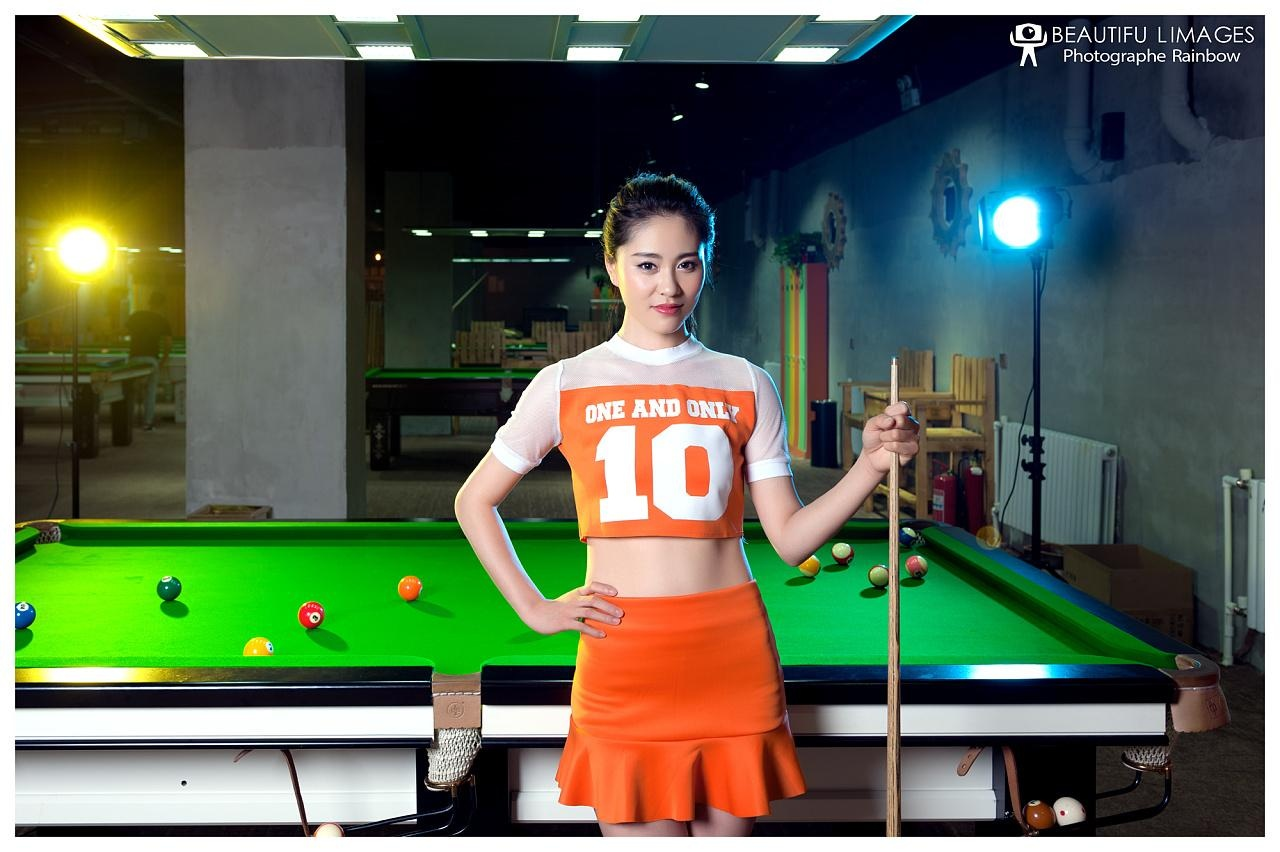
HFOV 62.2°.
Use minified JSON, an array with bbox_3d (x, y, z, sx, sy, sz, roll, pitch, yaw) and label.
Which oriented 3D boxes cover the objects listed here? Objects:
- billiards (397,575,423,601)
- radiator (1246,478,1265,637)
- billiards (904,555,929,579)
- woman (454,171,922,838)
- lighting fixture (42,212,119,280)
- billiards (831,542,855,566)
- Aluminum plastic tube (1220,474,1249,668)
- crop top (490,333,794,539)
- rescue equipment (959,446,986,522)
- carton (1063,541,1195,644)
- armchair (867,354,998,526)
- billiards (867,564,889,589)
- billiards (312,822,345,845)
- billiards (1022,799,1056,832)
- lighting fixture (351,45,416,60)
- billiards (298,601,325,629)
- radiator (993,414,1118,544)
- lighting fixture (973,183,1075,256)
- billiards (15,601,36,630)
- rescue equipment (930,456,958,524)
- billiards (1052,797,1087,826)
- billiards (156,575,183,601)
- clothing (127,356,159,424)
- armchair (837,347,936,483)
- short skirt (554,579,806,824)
[{"bbox_3d":[-0.762,0.540,3.539,0.075,0.075,0.076,2,-1,-7],"label":"billiards"},{"bbox_3d":[3.103,0.633,5.339,0.079,0.778,0.437,1,-12,24],"label":"radiator"},{"bbox_3d":[0.997,0.510,3.814,0.072,0.084,0.074,-3,-4,30],"label":"billiards"},{"bbox_3d":[0.161,0.489,2.799,1.282,2.146,0.517,-1,11,7],"label":"woman"},{"bbox_3d":[-3.639,-1.146,6.959,0.327,0.451,0.520,1,0,-32],"label":"lighting fixture"},{"bbox_3d":[0.749,0.474,3.924,0.077,0.077,0.042,1,-4,-12],"label":"billiards"},{"bbox_3d":[2.985,0.724,5.329,0.152,0.959,0.196,3,-5,6],"label":"Aluminum plastic tube"},{"bbox_3d":[0.015,0.030,2.744,0.783,0.529,0.283,-1,7,-3],"label":"crop top"},{"bbox_3d":[2.364,0.459,7.579,0.165,0.519,0.420,2,0,6],"label":"rescue equipment"},{"bbox_3d":[2.244,0.761,4.837,0.543,0.344,0.551,4,2,-20],"label":"carton"},{"bbox_3d":[2.214,0.046,8.136,0.600,1.199,1.518,-4,6,2],"label":"armchair"},{"bbox_3d":[0.833,0.523,3.708,0.076,0.087,0.077,6,-3,12],"label":"billiards"},{"bbox_3d":[-0.846,1.107,2.906,0.072,0.040,0.087,1,0,-32],"label":"billiards"},{"bbox_3d":[1.091,1.070,2.908,0.078,0.091,0.079,-5,-10,-15],"label":"billiards"},{"bbox_3d":[-1.099,-1.619,4.586,0.245,0.030,0.173,2,0,-12],"label":"lighting fixture"},{"bbox_3d":[-1.028,0.598,3.381,0.080,0.092,0.080,4,2,23],"label":"billiards"},{"bbox_3d":[2.633,0.331,6.661,0.089,0.608,0.850,-2,4,-14],"label":"radiator"},{"bbox_3d":[2.298,-1.249,6.470,0.666,0.476,0.245,0,8,0],"label":"lighting fixture"},{"bbox_3d":[-1.909,0.595,3.322,0.063,0.073,0.040,4,-36,-12],"label":"billiards"},{"bbox_3d":[2.205,0.473,7.705,0.178,0.406,0.602,2,0,15],"label":"rescue equipment"},{"bbox_3d":[1.178,1.057,2.919,0.075,0.087,0.076,-3,0,25],"label":"billiards"},{"bbox_3d":[-1.559,0.537,3.527,0.079,0.090,0.080,2,-4,1],"label":"billiards"},{"bbox_3d":[-5.881,-0.410,12.694,0.391,0.951,0.291,-9,-16,9],"label":"clothing"},{"bbox_3d":[2.014,-0.109,8.770,0.625,1.064,0.820,-1,9,-12],"label":"armchair"},{"bbox_3d":[0.116,0.691,2.729,0.669,0.565,0.426,-3,3,-8],"label":"short skirt"}]
